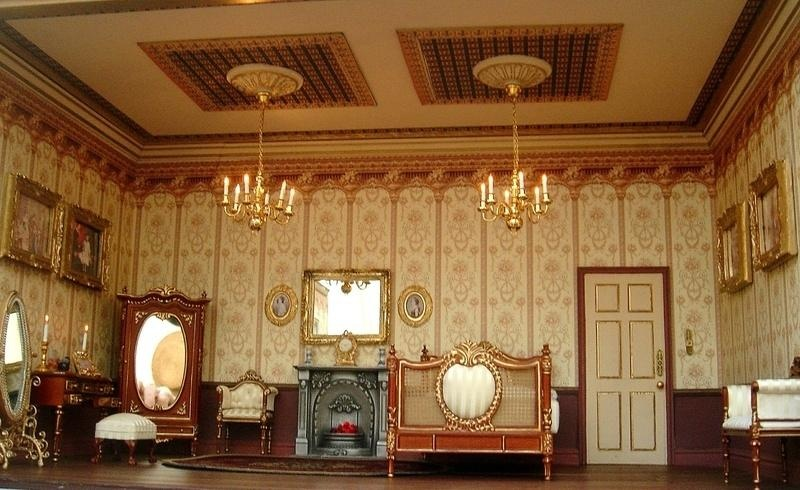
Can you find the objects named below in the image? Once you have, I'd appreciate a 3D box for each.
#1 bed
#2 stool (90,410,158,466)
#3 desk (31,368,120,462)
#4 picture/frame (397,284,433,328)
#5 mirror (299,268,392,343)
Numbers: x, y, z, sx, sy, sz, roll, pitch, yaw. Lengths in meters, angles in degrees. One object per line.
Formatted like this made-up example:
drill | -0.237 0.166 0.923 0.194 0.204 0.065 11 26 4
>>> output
bed | 1.064 2.362 8.391 2.211 1.667 2.285 -4 -16 14
stool | -3.908 2.762 8.498 0.833 0.602 0.827 -10 -19 34
desk | -4.935 2.623 9.096 0.598 1.085 1.706 2 -16 -1
picture/frame | 0.273 1.082 10.184 0.713 0.845 0.075 0 -13 6
mirror | -0.888 1.095 10.283 1.218 1.134 0.115 0 -7 4
